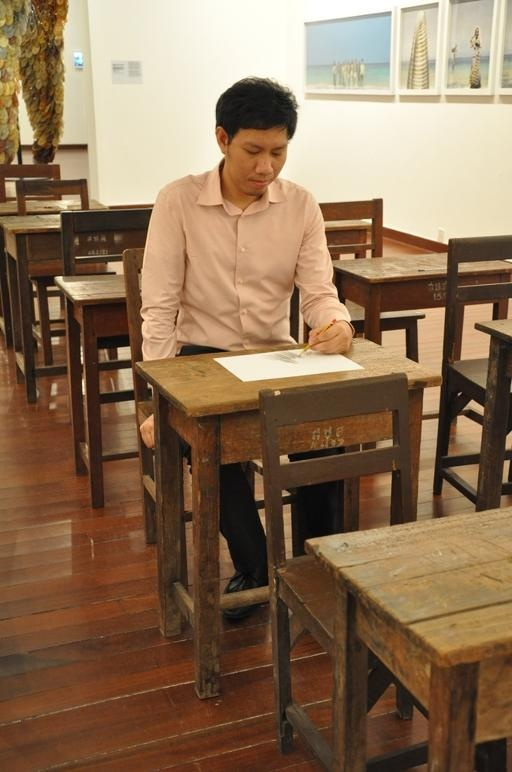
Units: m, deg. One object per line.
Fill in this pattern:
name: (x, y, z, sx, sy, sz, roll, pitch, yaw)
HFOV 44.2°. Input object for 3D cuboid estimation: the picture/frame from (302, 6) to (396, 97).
picture/frame: (1.193, -4.302, 8.204, 1.477, 0.894, 0.038, -18, 32, -27)

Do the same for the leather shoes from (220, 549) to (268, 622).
leather shoes: (-0.029, 0.542, 1.768, 0.162, 0.066, 0.076, -26, -8, 29)
